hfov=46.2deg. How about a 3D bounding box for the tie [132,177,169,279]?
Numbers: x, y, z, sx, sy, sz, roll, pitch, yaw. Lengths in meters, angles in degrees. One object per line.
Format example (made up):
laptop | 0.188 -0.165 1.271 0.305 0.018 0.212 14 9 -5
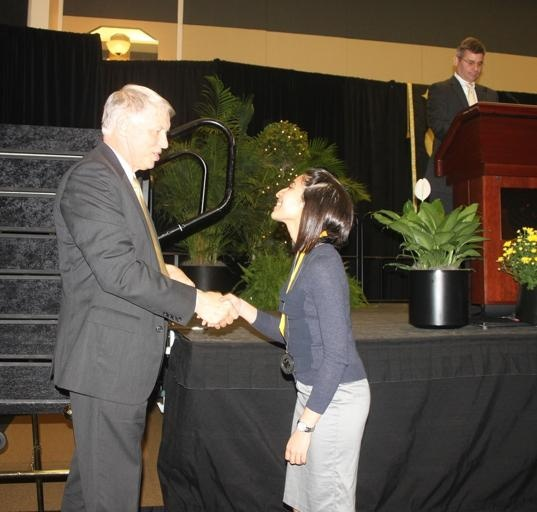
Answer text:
tie | -0.453 -0.127 2.488 0.204 0.407 0.033 -16 -5 43

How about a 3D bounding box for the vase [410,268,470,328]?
vase | 0.910 0.217 3.381 0.325 0.336 0.300 -4 6 -23

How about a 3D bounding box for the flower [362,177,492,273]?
flower | 0.872 -0.147 3.457 0.634 0.576 0.629 -2 3 -4

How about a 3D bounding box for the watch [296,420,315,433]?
watch | 0.123 0.583 2.165 0.053 0.036 0.051 2 -8 37

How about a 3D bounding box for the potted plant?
potted plant | -0.407 -0.473 6.069 1.488 1.808 1.526 17 -10 14
